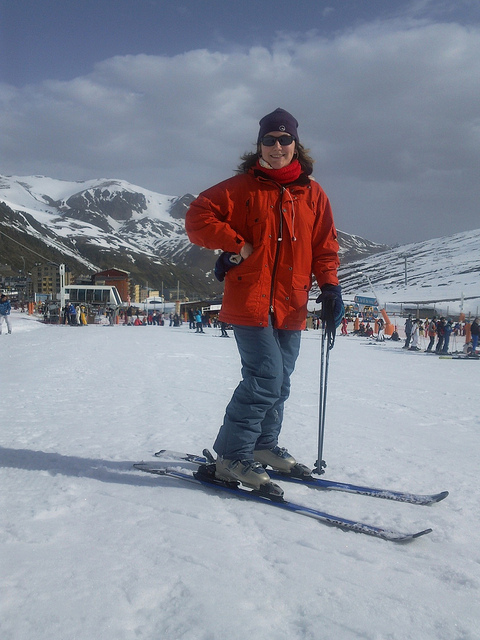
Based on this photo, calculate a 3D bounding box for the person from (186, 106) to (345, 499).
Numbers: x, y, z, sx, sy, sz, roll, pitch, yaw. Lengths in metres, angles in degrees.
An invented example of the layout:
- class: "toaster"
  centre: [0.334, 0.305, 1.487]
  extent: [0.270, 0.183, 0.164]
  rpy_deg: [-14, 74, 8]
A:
- class: "person"
  centre: [0.142, -0.120, 2.912]
  extent: [0.554, 2.011, 0.738]
  rpy_deg: [4, 5, 41]

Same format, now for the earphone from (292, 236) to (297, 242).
- class: "earphone"
  centre: [0.272, -0.411, 2.791]
  extent: [0.017, 0.024, 0.007]
  rpy_deg: [-2, 3, -12]

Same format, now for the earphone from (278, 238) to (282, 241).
- class: "earphone"
  centre: [0.194, -0.402, 2.760]
  extent: [0.017, 0.015, 0.009]
  rpy_deg: [2, -6, 2]

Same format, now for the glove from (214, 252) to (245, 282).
- class: "glove"
  centre: [-0.082, -0.272, 2.830]
  extent: [0.117, 0.142, 0.297]
  rpy_deg: [-1, 4, -22]

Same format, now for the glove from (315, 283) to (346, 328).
- class: "glove"
  centre: [0.506, -0.074, 3.039]
  extent: [0.167, 0.225, 0.104]
  rpy_deg: [7, 8, 44]

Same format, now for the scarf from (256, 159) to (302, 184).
- class: "scarf"
  centre: [0.205, -0.753, 2.863]
  extent: [0.163, 0.071, 0.137]
  rpy_deg: [-4, -3, 8]

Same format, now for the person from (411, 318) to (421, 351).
- class: "person"
  centre: [6.075, 0.541, 19.216]
  extent: [0.255, 1.061, 0.594]
  rpy_deg: [2, 4, 17]

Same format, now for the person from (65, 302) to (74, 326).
- class: "person"
  centre: [-10.257, -0.311, 32.855]
  extent: [0.460, 1.234, 2.365]
  rpy_deg: [-1, 4, -19]

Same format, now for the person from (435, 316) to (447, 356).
- class: "person"
  centre: [6.604, 0.508, 18.210]
  extent: [0.336, 1.070, 2.027]
  rpy_deg: [2, 4, 20]
